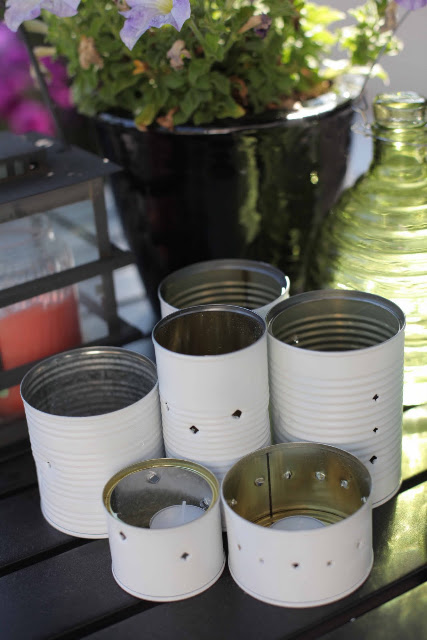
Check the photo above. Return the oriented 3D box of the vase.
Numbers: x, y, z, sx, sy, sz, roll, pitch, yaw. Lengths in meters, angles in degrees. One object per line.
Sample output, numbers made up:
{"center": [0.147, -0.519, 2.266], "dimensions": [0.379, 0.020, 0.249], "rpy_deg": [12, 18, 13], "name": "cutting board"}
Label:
{"center": [0.008, -0.172, 0.781], "dimensions": [0.287, 0.242, 0.266], "rpy_deg": [-8, 40, -7], "name": "vase"}
